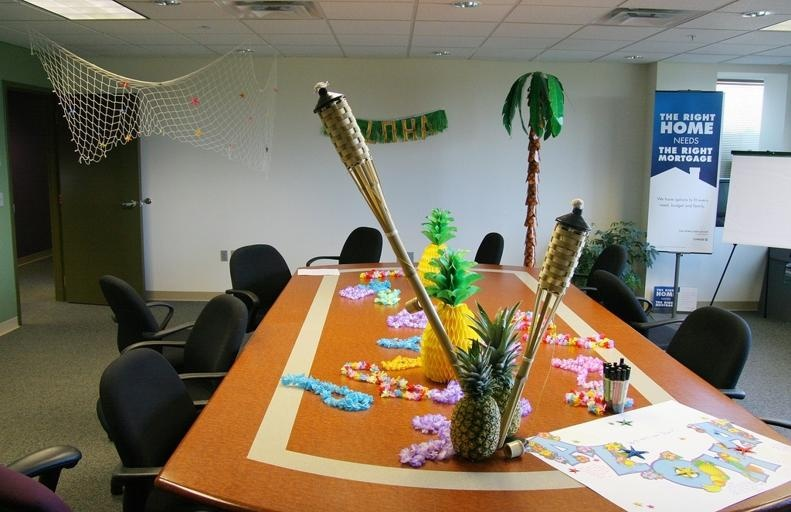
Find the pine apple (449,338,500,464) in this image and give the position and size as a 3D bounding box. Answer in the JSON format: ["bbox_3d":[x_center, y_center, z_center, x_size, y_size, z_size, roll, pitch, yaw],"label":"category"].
[{"bbox_3d":[0.346,0.625,2.297,0.190,0.524,0.098,-5,12,-13],"label":"pine apple"}]

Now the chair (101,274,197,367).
[{"bbox_3d":[-2.197,0.556,4.652,0.645,0.810,0.642,-10,16,-42],"label":"chair"}]

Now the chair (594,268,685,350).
[{"bbox_3d":[2.204,0.470,4.700,0.669,0.787,0.672,-4,10,-7],"label":"chair"}]
